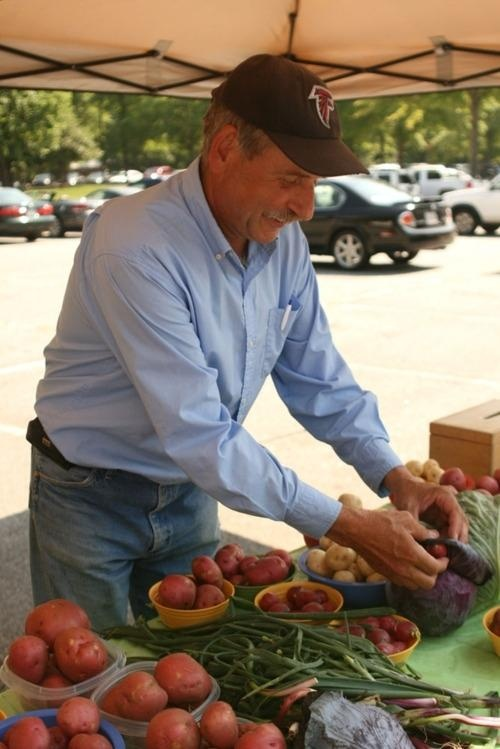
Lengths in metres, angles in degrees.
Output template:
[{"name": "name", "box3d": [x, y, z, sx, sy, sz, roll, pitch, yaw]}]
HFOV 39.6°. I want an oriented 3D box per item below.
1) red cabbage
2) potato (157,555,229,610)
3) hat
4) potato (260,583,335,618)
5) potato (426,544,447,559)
[{"name": "red cabbage", "box3d": [0.429, 0.491, 1.707, 0.113, 0.230, 0.231, -13, 34, 56]}, {"name": "potato", "box3d": [-0.119, 0.492, 1.683, 0.128, 0.099, 0.174, -10, 14, -44]}, {"name": "hat", "box3d": [0.080, -0.569, 1.513, 0.357, 0.301, 0.281, 1, 9, 3]}, {"name": "potato", "box3d": [0.114, 0.534, 1.674, 0.139, 0.056, 0.164, 6, 13, 37]}, {"name": "potato", "box3d": [0.431, 0.405, 1.593, 0.039, 0.042, 0.036, -10, 19, 4]}]
